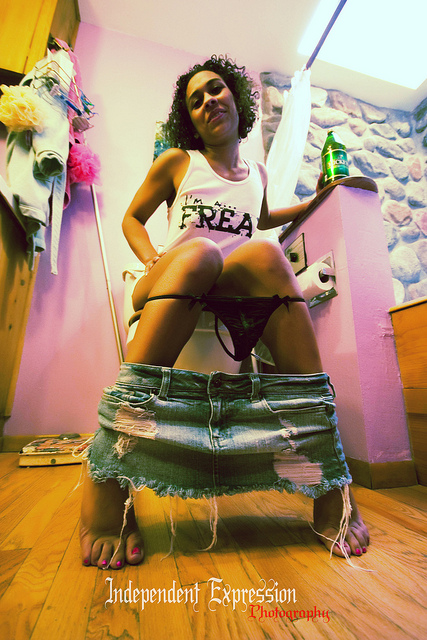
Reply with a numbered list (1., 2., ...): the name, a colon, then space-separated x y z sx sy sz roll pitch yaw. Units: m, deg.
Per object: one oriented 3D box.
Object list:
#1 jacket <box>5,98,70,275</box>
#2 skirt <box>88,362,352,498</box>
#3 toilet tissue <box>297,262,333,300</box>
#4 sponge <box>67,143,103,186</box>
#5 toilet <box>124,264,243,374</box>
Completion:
1. jacket: -0.723 -0.529 1.605 0.226 0.725 0.341 3 -9 -21
2. skirt: 0.025 0.213 0.771 0.476 0.211 0.175 0 -12 4
3. toilet tissue: 0.311 -0.120 1.259 0.058 0.103 0.146 4 -9 -25
4. sponge: -0.602 -0.729 1.849 0.149 0.188 0.117 3 -9 -16
5. toilet: -0.063 0.019 1.189 0.318 0.381 0.335 9 -20 -27
